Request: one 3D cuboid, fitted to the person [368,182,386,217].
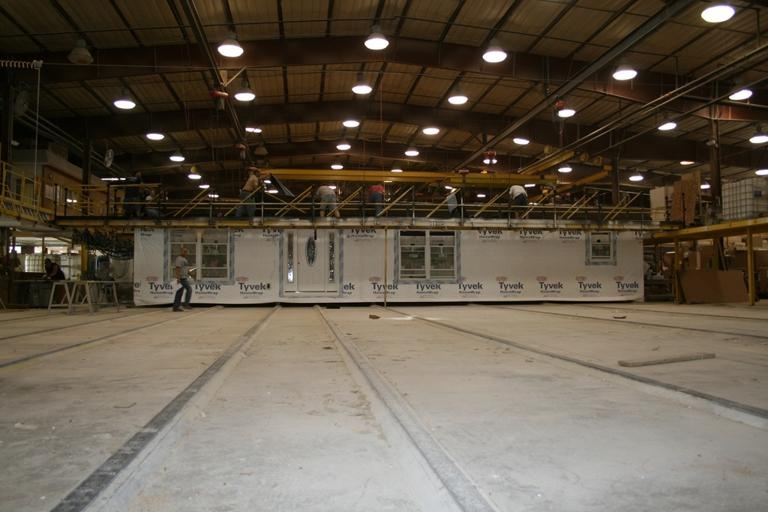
[{"bbox_3d":[-0.366,-2.263,19.894,0.554,1.577,0.489,0,-24,12],"label":"person"}]

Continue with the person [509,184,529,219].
[{"bbox_3d":[5.400,-2.188,20.861,0.740,1.257,2.236,4,14,13],"label":"person"}]

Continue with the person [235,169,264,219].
[{"bbox_3d":[-5.024,-2.344,19.131,0.951,1.763,1.479,-1,14,-5],"label":"person"}]
